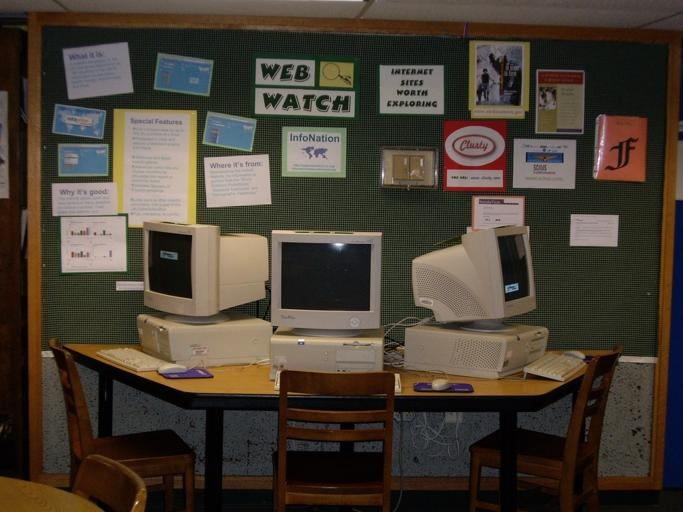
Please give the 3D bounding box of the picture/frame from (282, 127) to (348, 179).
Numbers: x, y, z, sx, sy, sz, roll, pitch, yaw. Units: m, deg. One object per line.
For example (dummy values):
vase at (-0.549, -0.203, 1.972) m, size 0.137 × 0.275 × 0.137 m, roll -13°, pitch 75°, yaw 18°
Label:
picture/frame at (-0.182, -0.638, 3.877) m, size 0.431 × 0.301 × 0.023 m, roll -4°, pitch 13°, yaw -26°

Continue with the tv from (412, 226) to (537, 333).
tv at (0.734, 0.106, 3.605) m, size 0.637 × 0.445 × 0.530 m, roll -1°, pitch 5°, yaw 39°

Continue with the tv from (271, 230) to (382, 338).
tv at (-0.037, 0.130, 3.401) m, size 0.591 × 0.498 × 0.334 m, roll 1°, pitch -1°, yaw 21°

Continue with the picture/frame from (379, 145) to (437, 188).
picture/frame at (0.458, -0.547, 3.942) m, size 0.358 × 0.233 × 0.199 m, roll 9°, pitch 14°, yaw 35°

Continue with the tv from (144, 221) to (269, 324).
tv at (-0.788, 0.069, 3.658) m, size 0.565 × 0.465 × 0.670 m, roll -1°, pitch 2°, yaw -38°
